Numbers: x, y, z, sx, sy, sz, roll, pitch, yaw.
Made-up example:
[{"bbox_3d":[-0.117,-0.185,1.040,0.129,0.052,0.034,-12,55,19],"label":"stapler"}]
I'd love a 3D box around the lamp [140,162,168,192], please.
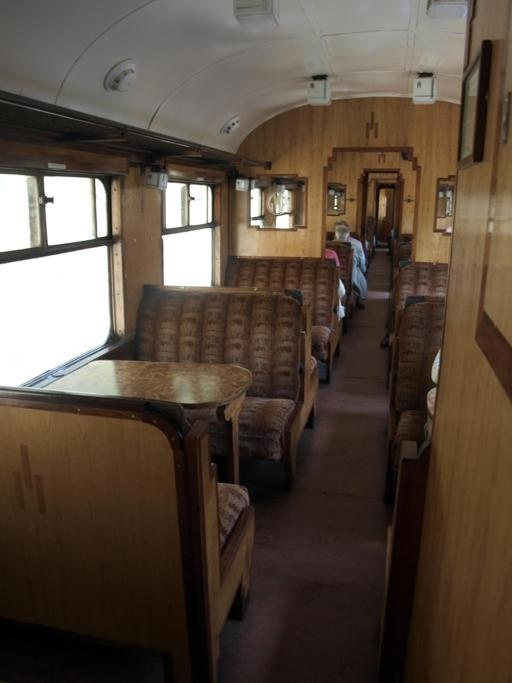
[{"bbox_3d":[-0.929,-1.534,4.705,0.286,0.218,0.121,-9,15,-43],"label":"lamp"}]

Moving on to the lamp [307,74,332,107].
[{"bbox_3d":[0.667,-2.708,5.453,0.224,0.326,0.296,3,11,5],"label":"lamp"}]

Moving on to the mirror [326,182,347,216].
[{"bbox_3d":[2.440,-4.359,15.546,0.274,1.549,1.355,-5,18,-10],"label":"mirror"}]

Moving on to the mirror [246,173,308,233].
[{"bbox_3d":[0.330,-2.283,8.621,0.844,0.797,2.795,2,12,1],"label":"mirror"}]
